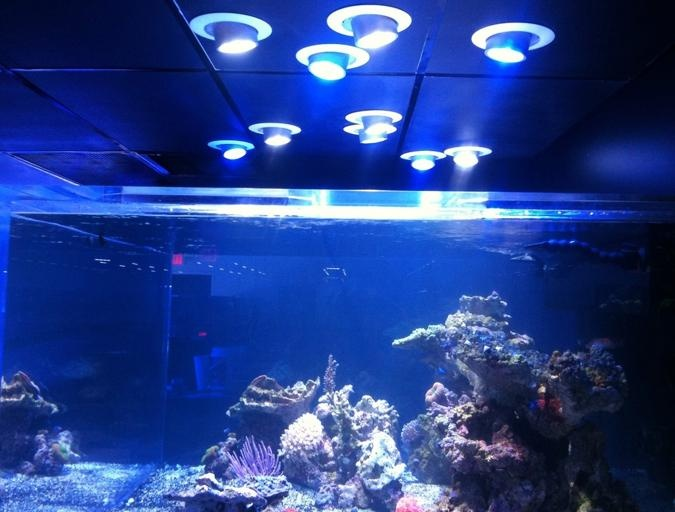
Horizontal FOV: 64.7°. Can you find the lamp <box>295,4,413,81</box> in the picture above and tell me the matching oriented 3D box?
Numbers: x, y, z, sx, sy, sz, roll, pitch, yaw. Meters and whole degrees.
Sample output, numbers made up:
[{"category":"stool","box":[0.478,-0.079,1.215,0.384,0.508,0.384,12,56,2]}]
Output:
[{"category":"lamp","box":[0.107,-1.323,3.228,0.342,0.110,0.518,-1,-20,-29]}]

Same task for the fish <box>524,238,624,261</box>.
[{"category":"fish","box":[2.904,-0.105,6.646,0.220,0.162,1.037,-15,14,-24]}]

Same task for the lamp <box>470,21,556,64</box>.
[{"category":"lamp","box":[1.063,-1.311,3.272,0.499,0.107,0.255,2,-15,3]}]

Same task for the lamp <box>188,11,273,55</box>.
[{"category":"lamp","box":[-0.638,-1.353,3.198,0.482,0.120,0.189,4,-15,-5]}]
